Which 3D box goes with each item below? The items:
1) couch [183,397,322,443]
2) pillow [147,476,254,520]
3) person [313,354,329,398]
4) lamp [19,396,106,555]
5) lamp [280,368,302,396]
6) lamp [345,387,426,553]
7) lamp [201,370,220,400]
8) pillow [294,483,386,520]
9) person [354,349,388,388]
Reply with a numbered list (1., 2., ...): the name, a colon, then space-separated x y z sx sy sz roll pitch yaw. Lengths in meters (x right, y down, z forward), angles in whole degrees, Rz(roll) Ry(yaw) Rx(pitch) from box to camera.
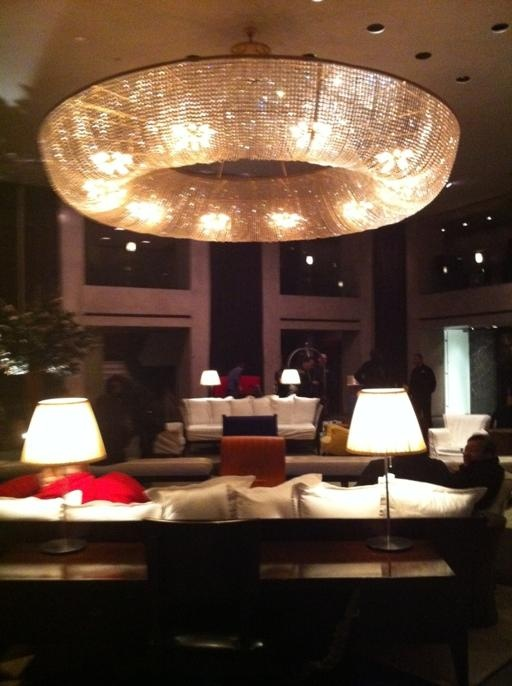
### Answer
1. couch: -0.131 1.066 8.247 2.070 0.548 1.074 -2 -2 11
2. pillow: -0.272 0.741 2.710 0.404 0.135 0.236 -1 -2 6
3. person: 1.434 0.740 12.857 0.340 1.085 0.270 4 19 30
4. lamp: -0.956 0.595 2.814 0.363 0.643 0.734 0 -3 -32
5. lamp: 0.576 0.638 9.566 0.425 0.400 0.386 -3 11 8
6. lamp: 0.583 0.546 2.576 0.333 0.678 0.263 -1 -3 -13
7. lamp: -0.844 0.771 10.820 0.365 0.511 1.116 -1 -2 -5
8. pillow: 0.387 0.729 2.690 0.260 0.077 0.197 1 9 1
9. person: 1.590 0.378 8.090 0.389 0.514 0.852 -2 -2 7
